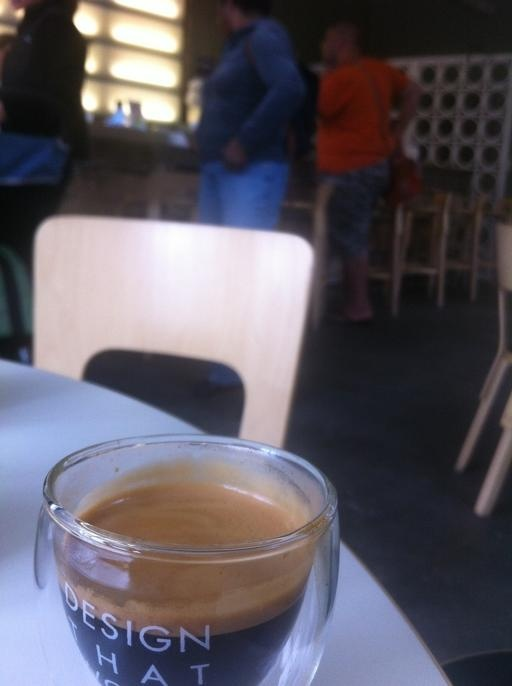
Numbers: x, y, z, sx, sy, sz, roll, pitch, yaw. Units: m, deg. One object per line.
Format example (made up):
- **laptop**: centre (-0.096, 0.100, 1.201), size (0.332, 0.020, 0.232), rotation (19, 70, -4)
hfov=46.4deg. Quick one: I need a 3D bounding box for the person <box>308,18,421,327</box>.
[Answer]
- **person**: centre (0.264, -0.443, 1.563), size (0.282, 0.706, 0.094), rotation (20, 24, 34)
